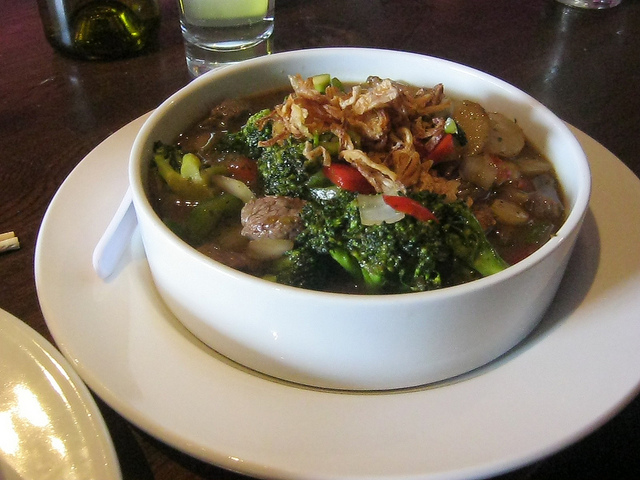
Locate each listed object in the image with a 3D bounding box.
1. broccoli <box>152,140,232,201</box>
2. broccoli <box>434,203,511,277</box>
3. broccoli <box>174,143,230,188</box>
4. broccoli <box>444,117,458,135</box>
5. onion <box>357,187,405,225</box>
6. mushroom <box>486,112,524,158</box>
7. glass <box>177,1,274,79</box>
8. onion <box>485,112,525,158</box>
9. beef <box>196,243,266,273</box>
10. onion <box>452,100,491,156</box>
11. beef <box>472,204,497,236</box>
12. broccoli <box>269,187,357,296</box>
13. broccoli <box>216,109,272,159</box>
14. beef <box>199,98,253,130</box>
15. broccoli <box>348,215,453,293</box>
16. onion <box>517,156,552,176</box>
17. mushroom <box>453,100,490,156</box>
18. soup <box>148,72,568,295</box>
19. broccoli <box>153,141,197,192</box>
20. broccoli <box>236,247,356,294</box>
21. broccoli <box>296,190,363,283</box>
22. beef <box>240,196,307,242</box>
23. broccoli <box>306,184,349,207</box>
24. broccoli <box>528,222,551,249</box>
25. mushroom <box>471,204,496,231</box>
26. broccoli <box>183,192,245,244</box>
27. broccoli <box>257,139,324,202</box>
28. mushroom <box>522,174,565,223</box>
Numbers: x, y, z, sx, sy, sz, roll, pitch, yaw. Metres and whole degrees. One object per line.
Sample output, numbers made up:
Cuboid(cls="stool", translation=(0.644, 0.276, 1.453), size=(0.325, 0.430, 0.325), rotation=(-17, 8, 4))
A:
Cuboid(cls="broccoli", translation=(-0.352, -0.175, 1.394), size=(0.132, 0.044, 0.171), rotation=(-16, 70, -14))
Cuboid(cls="broccoli", translation=(0.313, -0.005, 1.295), size=(0.107, 0.102, 0.227), rotation=(-19, 54, -42))
Cuboid(cls="broccoli", translation=(-0.318, -0.190, 1.412), size=(0.148, 0.035, 0.096), rotation=(12, 49, -36))
Cuboid(cls="broccoli", translation=(0.343, -0.297, 1.413), size=(0.034, 0.020, 0.044), rotation=(1, 59, -3))
Cuboid(cls="onion", translation=(0.134, -0.071, 1.242), size=(0.106, 0.028, 0.072), rotation=(-2, 57, -5))
Cuboid(cls="mushroom", translation=(0.511, -0.285, 1.526), size=(0.097, 0.130, 0.071), rotation=(17, 36, 4))
Cuboid(cls="glass", translation=(-0.431, -0.888, 2.341), size=(0.350, 0.376, 0.342), rotation=(-25, 49, -28))
Cuboid(cls="onion", translation=(0.515, -0.290, 1.507), size=(0.116, 0.030, 0.115), rotation=(-16, 78, -10))
Cuboid(cls="beef", translation=(-0.204, 0.042, 1.276), size=(0.160, 0.058, 0.140), rotation=(-1, 15, 0))
Cuboid(cls="onion", translation=(0.429, -0.304, 1.512), size=(0.060, 0.149, 0.094), rotation=(-23, 37, -37))
Cuboid(cls="beef", translation=(0.416, -0.041, 1.358), size=(0.012, 0.057, 0.060), rotation=(-27, 44, 31))
Cuboid(cls="broccoli", translation=(-0.014, 0.009, 1.261), size=(0.235, 0.066, 0.223), rotation=(5, 86, 16))
Cuboid(cls="broccoli", translation=(-0.192, -0.279, 1.513), size=(0.149, 0.038, 0.148), rotation=(-43, 42, -23))
Cuboid(cls="beef", translation=(-0.275, -0.365, 1.575), size=(0.138, 0.099, 0.135), rotation=(2, 24, -1))
Cuboid(cls="broccoli", translation=(0.184, 0.037, 1.195), size=(0.183, 0.065, 0.173), rotation=(-10, 56, -1))
Cuboid(cls="onion", translation=(0.582, -0.204, 1.472), size=(0.062, 0.017, 0.059), rotation=(-18, 39, 0))
Cuboid(cls="mushroom", translation=(0.420, -0.312, 1.499), size=(0.059, 0.152, 0.091), rotation=(-24, 38, -37))
Cuboid(cls="soup", translation=(0.088, -0.230, 1.719), size=(1.234, 0.546, 1.069), rotation=(1, 28, 2))
Cuboid(cls="broccoli", translation=(-0.381, -0.190, 1.379), size=(0.119, 0.034, 0.124), rotation=(1, 64, -49))
Cuboid(cls="broccoli", translation=(-0.074, 0.021, 1.332), size=(0.286, 0.101, 0.253), rotation=(-3, 19, -10))
Cuboid(cls="broccoli", translation=(0.047, -0.031, 1.314), size=(0.210, 0.186, 0.163), rotation=(16, 23, 34))
Cuboid(cls="beef", translation=(-0.121, -0.054, 1.360), size=(0.147, 0.187, 0.054), rotation=(-7, 80, 6))
Cuboid(cls="broccoli", translation=(0.016, -0.105, 1.326), size=(0.069, 0.018, 0.068), rotation=(-31, 58, -11))
Cuboid(cls="broccoli", translation=(0.535, -0.012, 1.322), size=(0.106, 0.027, 0.027), rotation=(-33, 100, -38))
Cuboid(cls="mushroom", translation=(0.419, -0.061, 1.365), size=(0.066, 0.017, 0.061), rotation=(0, 45, -1))
Cuboid(cls="broccoli", translation=(-0.284, -0.065, 1.421), size=(0.173, 0.107, 0.134), rotation=(-7, 22, -27))
Cuboid(cls="broccoli", translation=(-0.081, -0.178, 1.401), size=(0.151, 0.049, 0.159), rotation=(-8, 58, 4))
Cuboid(cls="mushroom", translation=(0.582, -0.109, 1.407), size=(0.078, 0.111, 0.112), rotation=(1, 19, -12))
